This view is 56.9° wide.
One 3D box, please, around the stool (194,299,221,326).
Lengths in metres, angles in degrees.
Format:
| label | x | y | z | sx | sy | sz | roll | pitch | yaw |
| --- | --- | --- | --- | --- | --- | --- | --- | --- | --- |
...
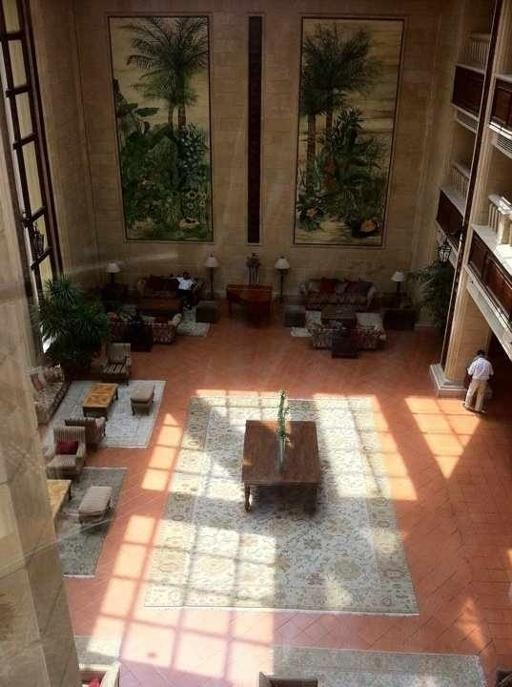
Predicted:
| label | x | y | z | sx | sy | sz | roll | pitch | yaw |
| --- | --- | --- | --- | --- | --- | --- | --- | --- | --- |
| stool | -1.666 | -1.047 | 16.402 | 0.798 | 0.617 | 0.770 | 2 | 45 | 0 |

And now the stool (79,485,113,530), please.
| label | x | y | z | sx | sy | sz | roll | pitch | yaw |
| --- | --- | --- | --- | --- | --- | --- | --- | --- | --- |
| stool | -3.065 | 3.043 | 8.989 | 0.513 | 0.371 | 0.755 | 3 | 19 | -5 |

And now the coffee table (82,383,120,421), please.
| label | x | y | z | sx | sy | sz | roll | pitch | yaw |
| --- | --- | --- | --- | --- | --- | --- | --- | --- | --- |
| coffee table | -3.942 | 1.420 | 11.907 | 0.722 | 0.286 | 1.226 | 1 | 34 | -1 |

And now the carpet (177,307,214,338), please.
| label | x | y | z | sx | sy | sz | roll | pitch | yaw |
| --- | --- | --- | --- | --- | --- | --- | --- | --- | --- |
| carpet | -2.118 | -0.639 | 15.950 | 0.934 | 0.013 | 1.425 | 1 | 34 | 1 |

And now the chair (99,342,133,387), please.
| label | x | y | z | sx | sy | sz | roll | pitch | yaw |
| --- | --- | --- | --- | --- | --- | --- | --- | --- | --- |
| chair | -3.938 | 0.517 | 13.327 | 1.015 | 1.296 | 0.982 | 0 | 33 | -3 |

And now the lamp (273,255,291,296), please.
| label | x | y | z | sx | sy | sz | roll | pitch | yaw |
| --- | --- | --- | --- | --- | --- | --- | --- | --- | --- |
| lamp | 0.986 | -2.351 | 17.217 | 0.546 | 1.547 | 0.549 | -1 | 27 | 2 |

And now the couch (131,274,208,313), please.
| label | x | y | z | sx | sy | sz | roll | pitch | yaw |
| --- | --- | --- | --- | --- | --- | --- | --- | --- | --- |
| couch | -3.198 | -1.661 | 16.680 | 2.090 | 1.053 | 2.155 | 4 | 26 | 12 |

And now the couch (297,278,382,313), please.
| label | x | y | z | sx | sy | sz | roll | pitch | yaw |
| --- | --- | --- | --- | --- | --- | --- | --- | --- | --- |
| couch | 2.920 | -1.760 | 16.782 | 2.506 | 0.973 | 1.246 | 2 | 26 | 8 |

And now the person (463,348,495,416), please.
| label | x | y | z | sx | sy | sz | roll | pitch | yaw |
| --- | --- | --- | --- | --- | --- | --- | --- | --- | --- |
| person | 5.651 | 0.913 | 11.958 | 0.551 | 1.506 | 0.822 | 11 | 29 | 25 |

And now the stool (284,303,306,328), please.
| label | x | y | z | sx | sy | sz | roll | pitch | yaw |
| --- | --- | --- | --- | --- | --- | --- | --- | --- | --- |
| stool | 1.340 | -0.971 | 16.209 | 0.716 | 0.499 | 0.697 | 1 | 21 | 3 |

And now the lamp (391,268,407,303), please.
| label | x | y | z | sx | sy | sz | roll | pitch | yaw |
| --- | --- | --- | --- | --- | --- | --- | --- | --- | --- |
| lamp | 5.152 | -2.114 | 16.866 | 0.638 | 1.226 | 0.616 | 2 | 47 | 9 |

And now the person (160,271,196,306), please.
| label | x | y | z | sx | sy | sz | roll | pitch | yaw |
| --- | --- | --- | --- | --- | --- | --- | --- | --- | --- |
| person | -2.672 | -1.963 | 17.033 | 1.242 | 1.208 | 0.524 | 4 | 11 | 11 |

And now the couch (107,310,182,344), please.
| label | x | y | z | sx | sy | sz | roll | pitch | yaw |
| --- | --- | --- | --- | --- | --- | --- | --- | --- | --- |
| couch | -3.526 | -0.666 | 15.105 | 2.201 | 1.073 | 1.573 | -8 | 26 | -11 |

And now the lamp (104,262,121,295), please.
| label | x | y | z | sx | sy | sz | roll | pitch | yaw |
| --- | --- | --- | --- | --- | --- | --- | --- | --- | --- |
| lamp | -5.274 | -2.384 | 17.163 | 0.615 | 1.143 | 0.590 | -4 | 50 | -15 |

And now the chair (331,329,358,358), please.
| label | x | y | z | sx | sy | sz | roll | pitch | yaw |
| --- | --- | --- | --- | --- | --- | --- | --- | --- | --- |
| chair | 2.674 | 0.030 | 14.355 | 0.820 | 0.750 | 0.788 | -1 | 40 | 2 |

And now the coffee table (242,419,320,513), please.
| label | x | y | z | sx | sy | sz | roll | pitch | yaw |
| --- | --- | --- | --- | --- | --- | --- | --- | --- | --- |
| coffee table | 0.555 | 2.611 | 10.126 | 1.569 | 0.953 | 1.924 | 1 | 27 | 4 |
